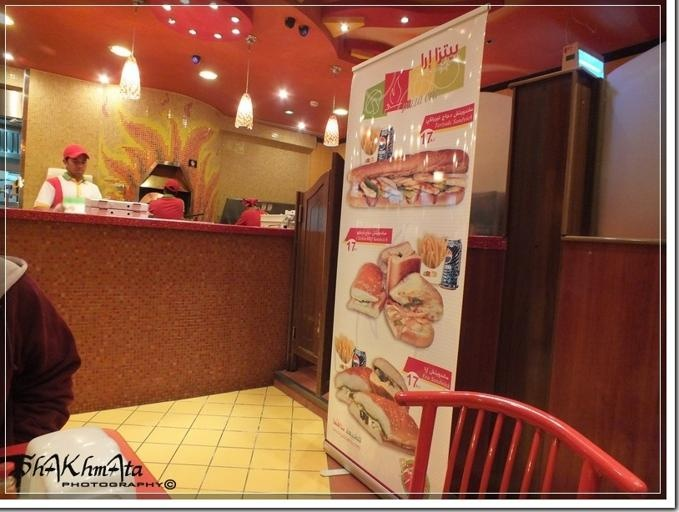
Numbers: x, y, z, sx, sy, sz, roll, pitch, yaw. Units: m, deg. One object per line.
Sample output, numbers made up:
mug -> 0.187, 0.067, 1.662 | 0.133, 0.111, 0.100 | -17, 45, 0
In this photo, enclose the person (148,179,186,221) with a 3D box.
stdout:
person -> -1.810, -0.587, 4.928 | 0.301, 0.371, 0.911 | 1, 10, -22
